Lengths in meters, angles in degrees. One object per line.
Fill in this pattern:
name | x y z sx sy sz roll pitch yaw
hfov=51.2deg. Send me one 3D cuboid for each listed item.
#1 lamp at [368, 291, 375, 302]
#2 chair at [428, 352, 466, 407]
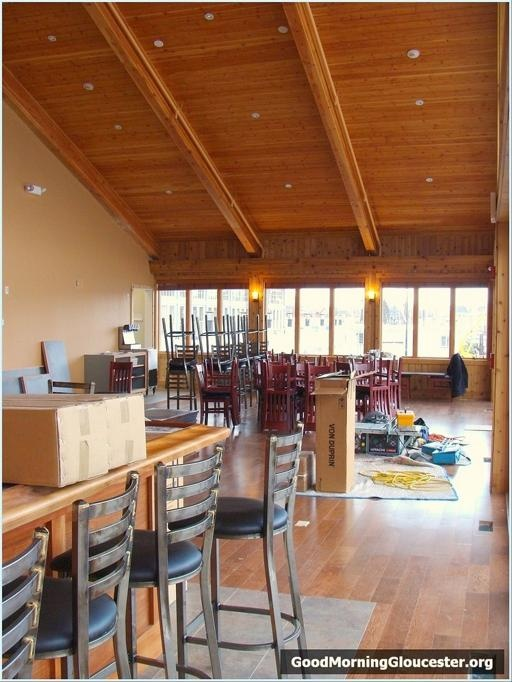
lamp | 2.619 -1.025 12.143 0.188 0.345 0.187 0 -1 7
chair | 4.190 0.718 11.712 0.954 1.104 0.757 1 -1 37
